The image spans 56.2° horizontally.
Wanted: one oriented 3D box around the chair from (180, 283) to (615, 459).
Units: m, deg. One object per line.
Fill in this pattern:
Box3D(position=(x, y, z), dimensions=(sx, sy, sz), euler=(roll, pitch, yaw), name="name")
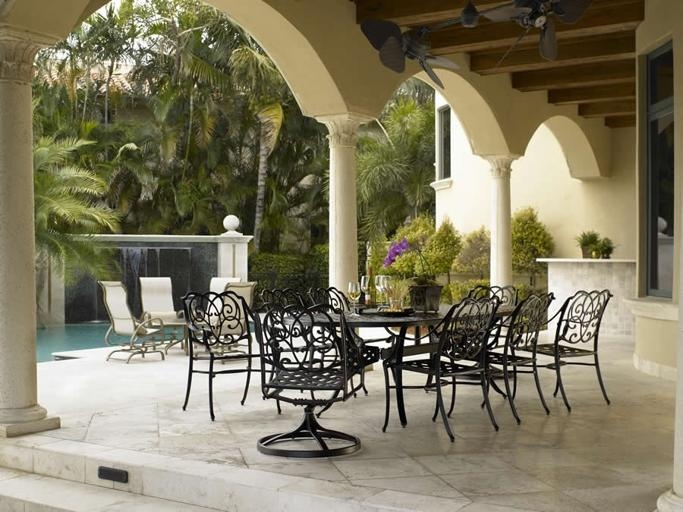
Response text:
Box3D(position=(0.602, 0.871, 5.945), dimensions=(3.398, 1.242, 2.130), euler=(-4, 6, -33), name="chair")
